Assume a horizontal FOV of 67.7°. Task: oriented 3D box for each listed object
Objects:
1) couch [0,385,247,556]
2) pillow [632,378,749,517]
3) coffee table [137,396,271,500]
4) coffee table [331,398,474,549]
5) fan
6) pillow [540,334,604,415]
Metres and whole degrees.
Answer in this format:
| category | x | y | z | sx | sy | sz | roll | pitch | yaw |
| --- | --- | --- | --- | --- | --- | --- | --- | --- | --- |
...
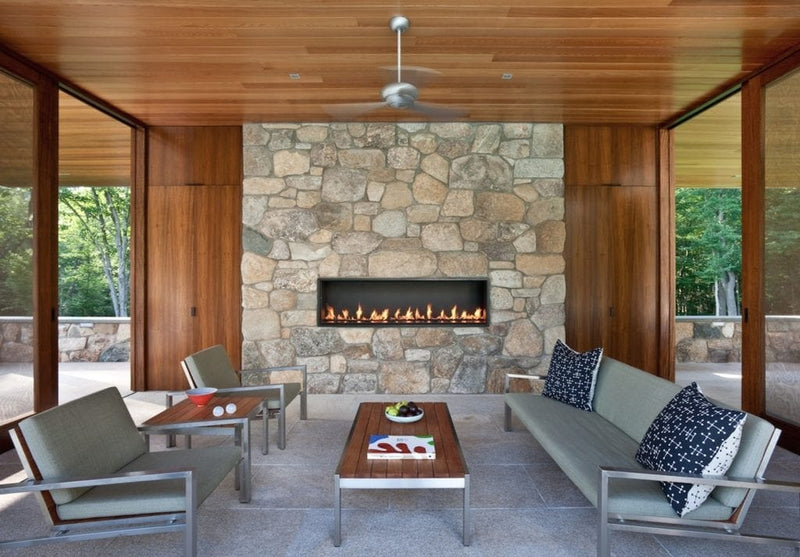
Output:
| category | x | y | z | sx | sy | sz | roll | pitch | yaw |
| --- | --- | --- | --- | --- | --- | --- | --- | --- | --- |
| couch | -1.928 | 1.405 | 4.564 | 1.537 | 0.819 | 1.420 | 3 | -2 | -2 |
| pillow | 2.124 | 1.258 | 4.367 | 0.677 | 0.822 | 0.486 | -1 | 3 | 5 |
| coffee table | -1.602 | 1.367 | 5.111 | 0.921 | 0.502 | 0.944 | 0 | 1 | 6 |
| coffee table | -0.007 | 1.501 | 5.291 | 1.103 | 0.381 | 1.920 | 6 | 7 | 0 |
| fan | -0.046 | -1.888 | 5.324 | 1.248 | 0.685 | 1.312 | 9 | 14 | 34 |
| pillow | 1.655 | 0.943 | 5.799 | 0.339 | 0.523 | 0.693 | -9 | 4 | -16 |
